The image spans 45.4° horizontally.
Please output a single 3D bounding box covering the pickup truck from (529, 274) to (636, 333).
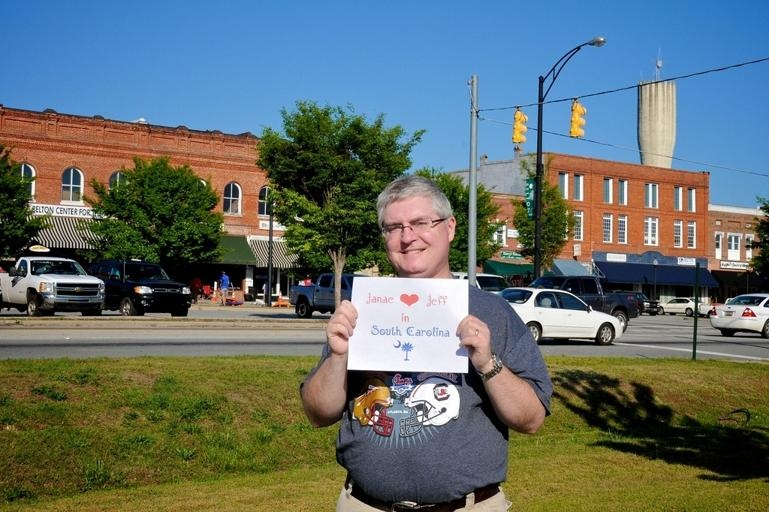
[{"bbox_3d":[7.789,1.671,35.008,4.548,1.602,2.007,4,-4,-25],"label":"pickup truck"}]

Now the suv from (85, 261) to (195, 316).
[{"bbox_3d":[-8.600,1.115,32.439,4.537,1.740,1.802,-1,-1,41],"label":"suv"}]

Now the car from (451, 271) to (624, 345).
[{"bbox_3d":[5.572,2.210,29.213,6.573,2.261,2.563,0,-1,-19],"label":"car"}]

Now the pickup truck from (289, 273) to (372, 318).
[{"bbox_3d":[-1.745,1.697,37.682,4.170,1.785,2.162,1,-4,36],"label":"pickup truck"}]
